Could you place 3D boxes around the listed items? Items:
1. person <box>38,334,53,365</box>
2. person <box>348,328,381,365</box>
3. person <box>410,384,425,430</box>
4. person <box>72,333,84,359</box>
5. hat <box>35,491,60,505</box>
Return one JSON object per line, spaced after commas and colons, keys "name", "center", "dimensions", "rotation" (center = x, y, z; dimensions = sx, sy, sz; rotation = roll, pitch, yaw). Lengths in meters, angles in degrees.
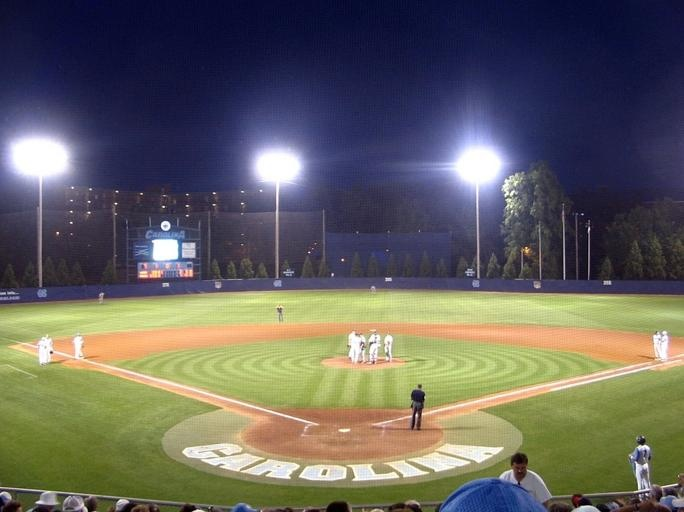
{"name": "person", "center": [-12.700, 3.957, 30.448], "dimensions": [0.528, 1.232, 1.260], "rotation": [-2, 4, -25]}
{"name": "person", "center": [1.015, 4.049, 31.513], "dimensions": [1.225, 1.606, 0.515], "rotation": [2, 3, 13]}
{"name": "person", "center": [2.410, 4.671, 22.647], "dimensions": [0.428, 1.440, 1.343], "rotation": [0, 4, 6]}
{"name": "person", "center": [-11.956, 4.002, 32.289], "dimensions": [0.429, 1.035, 1.798], "rotation": [-2, 4, -22]}
{"name": "hat", "center": [-6.110, 5.028, 14.729], "dimensions": [0.310, 0.325, 0.360], "rotation": [-1, 4, -8]}
